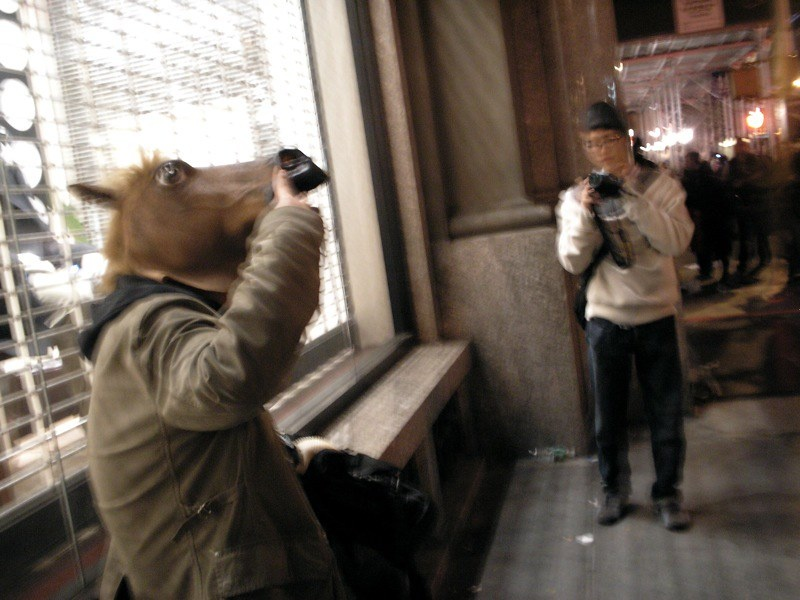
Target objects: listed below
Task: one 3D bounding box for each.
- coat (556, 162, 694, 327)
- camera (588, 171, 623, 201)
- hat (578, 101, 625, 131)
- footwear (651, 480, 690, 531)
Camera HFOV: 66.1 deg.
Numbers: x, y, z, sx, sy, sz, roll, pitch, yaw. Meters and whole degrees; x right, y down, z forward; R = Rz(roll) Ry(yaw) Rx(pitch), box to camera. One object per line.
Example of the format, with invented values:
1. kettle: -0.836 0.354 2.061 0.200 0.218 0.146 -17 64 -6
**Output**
1. coat: 0.817 -0.193 2.195 0.452 0.527 0.326 -4 10 32
2. camera: 0.657 -0.351 1.922 0.089 0.078 0.131 6 0 30
3. hat: 0.609 -0.549 1.867 0.101 0.094 0.100 -26 26 4
4. footwear: 1.002 0.749 2.271 0.071 0.148 0.220 -5 16 12
